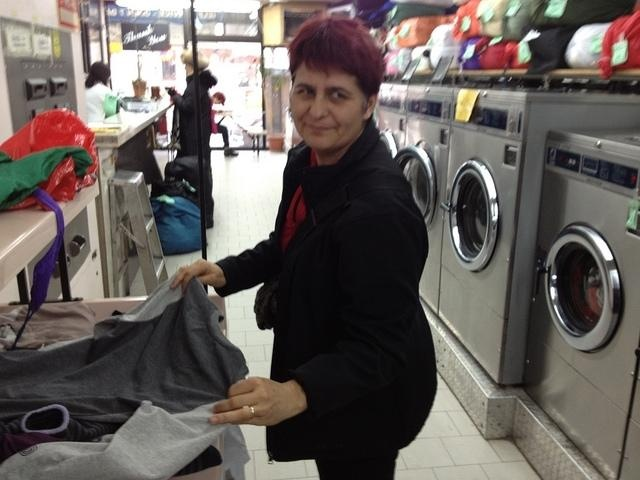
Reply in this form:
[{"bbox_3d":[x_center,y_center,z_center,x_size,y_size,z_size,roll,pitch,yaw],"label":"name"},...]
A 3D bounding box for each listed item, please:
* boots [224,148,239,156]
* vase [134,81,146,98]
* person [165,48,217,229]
[{"bbox_3d":[-1.977,-1.953,9.789,0.334,0.161,0.141,2,11,28],"label":"boots"},{"bbox_3d":[-2.886,-2.420,7.069,0.191,0.306,0.467,-7,17,-20],"label":"vase"},{"bbox_3d":[-1.648,-1.302,5.554,0.543,1.959,0.576,0,13,-20],"label":"person"}]
